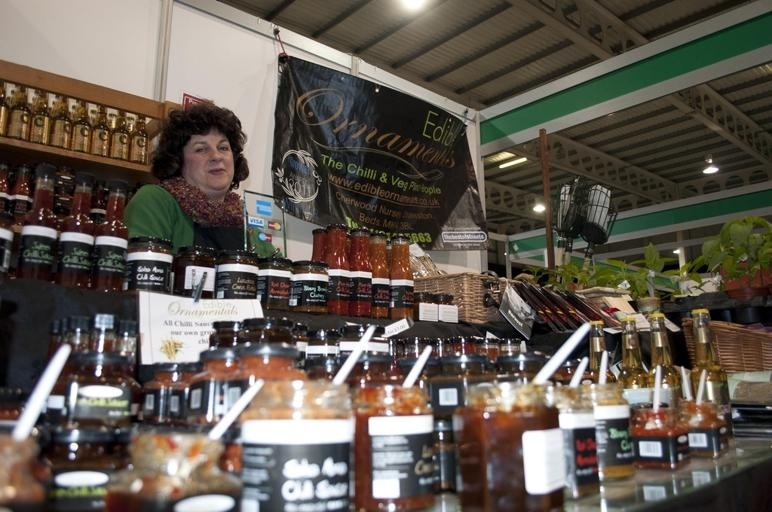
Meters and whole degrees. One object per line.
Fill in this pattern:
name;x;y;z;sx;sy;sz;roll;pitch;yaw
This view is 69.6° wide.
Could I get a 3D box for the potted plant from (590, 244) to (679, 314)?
potted plant;1.786;0.158;3.995;0.413;0.167;0.373;5;-23;-5
